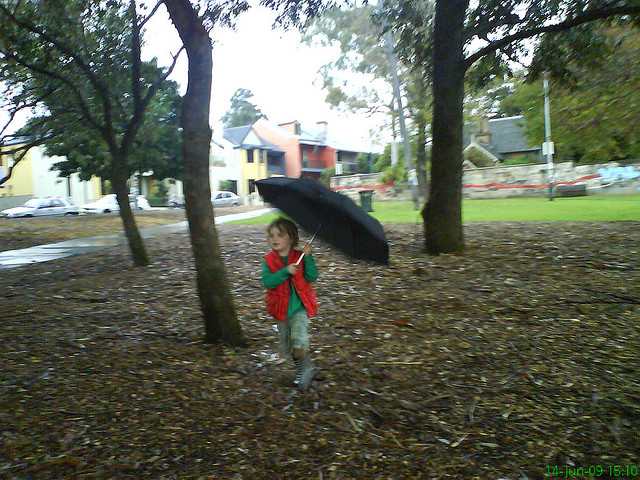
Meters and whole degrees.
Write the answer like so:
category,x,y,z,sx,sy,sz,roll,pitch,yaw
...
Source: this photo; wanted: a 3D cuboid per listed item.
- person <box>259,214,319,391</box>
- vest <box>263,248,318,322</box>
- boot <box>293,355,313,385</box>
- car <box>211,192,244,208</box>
category,x,y,z,sx,sy,sz,roll,pitch,yaw
person,-0.223,0.586,4.143,0.482,1.599,0.284,-9,9,-5
vest,-0.278,0.404,4.281,0.531,0.630,0.465,1,3,-6
boot,-0.135,1.179,4.214,0.200,0.287,0.138,-10,9,-19
car,-8.257,-3.583,39.482,1.039,1.276,2.718,1,9,43
